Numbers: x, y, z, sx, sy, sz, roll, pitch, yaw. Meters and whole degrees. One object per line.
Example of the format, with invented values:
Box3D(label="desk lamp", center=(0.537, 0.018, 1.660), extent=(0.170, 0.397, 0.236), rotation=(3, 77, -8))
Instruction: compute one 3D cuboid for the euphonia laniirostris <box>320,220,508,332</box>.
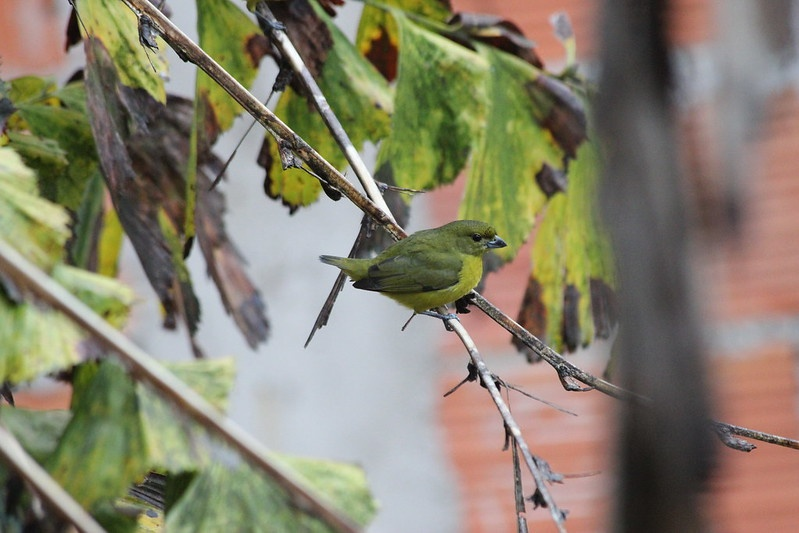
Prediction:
Box3D(label="euphonia laniirostris", center=(0.038, 0.008, 3.785), extent=(0.512, 0.313, 0.243), rotation=(3, 9, 5))
